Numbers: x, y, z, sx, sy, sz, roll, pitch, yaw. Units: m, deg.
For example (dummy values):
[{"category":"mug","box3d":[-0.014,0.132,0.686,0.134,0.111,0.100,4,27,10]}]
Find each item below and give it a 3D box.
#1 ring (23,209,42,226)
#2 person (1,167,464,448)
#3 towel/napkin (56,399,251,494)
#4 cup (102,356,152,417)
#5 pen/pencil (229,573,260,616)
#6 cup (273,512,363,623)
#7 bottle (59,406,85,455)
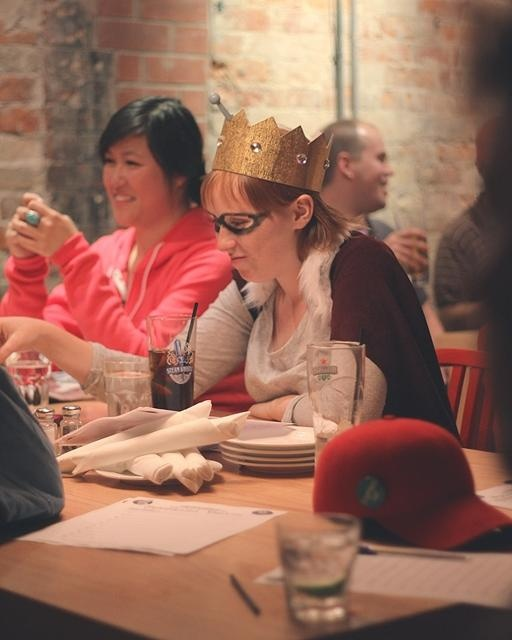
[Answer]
[{"category":"ring","box3d":[-0.581,-0.264,1.758,0.038,0.023,0.044,1,-2,-4]},{"category":"person","box3d":[-0.038,-0.007,1.441,0.848,0.632,0.478,3,-13,-24]},{"category":"towel/napkin","box3d":[-0.137,0.163,0.871,0.195,0.074,0.113,-5,5,12]},{"category":"cup","box3d":[-0.203,0.113,1.079,0.089,0.090,0.084,2,9,0]},{"category":"pen/pencil","box3d":[-0.010,0.226,0.557,0.010,0.007,0.043,-15,28,-29]},{"category":"cup","box3d":[0.045,0.192,0.518,0.089,0.080,0.082,-1,-3,0]},{"category":"bottle","box3d":[-0.272,0.170,1.009,0.037,0.076,0.033,-3,-1,0]}]
